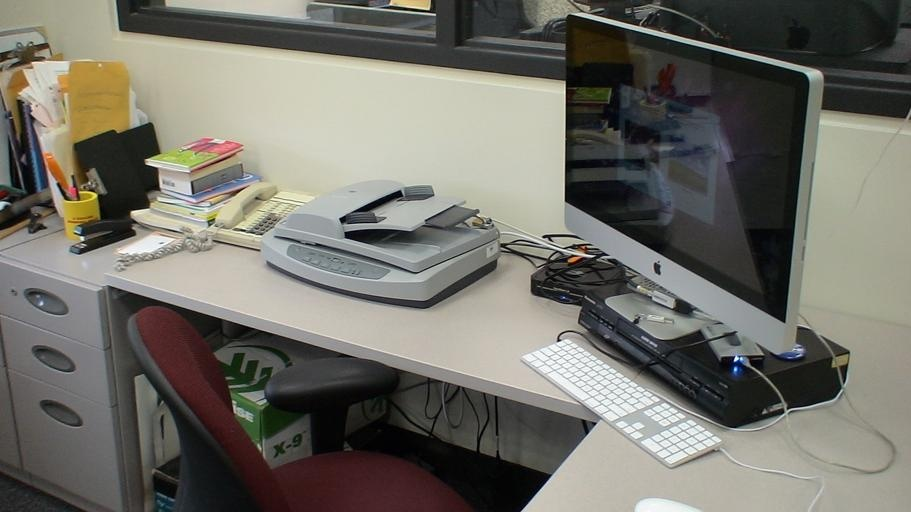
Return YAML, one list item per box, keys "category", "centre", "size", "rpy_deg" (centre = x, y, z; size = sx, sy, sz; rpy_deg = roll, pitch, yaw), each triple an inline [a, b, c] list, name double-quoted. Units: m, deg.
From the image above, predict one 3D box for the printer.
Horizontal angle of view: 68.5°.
- category: "printer"
  centre: [-0.248, -0.035, 2.422]
  size: [0.713, 0.205, 0.517]
  rpy_deg: [13, 28, 27]

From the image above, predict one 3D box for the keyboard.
- category: "keyboard"
  centre: [0.500, 0.436, 2.053]
  size: [0.597, 0.146, 0.191]
  rpy_deg: [22, 36, 37]

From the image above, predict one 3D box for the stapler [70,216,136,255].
- category: "stapler"
  centre: [-1.431, -0.088, 2.720]
  size: [0.090, 0.107, 0.301]
  rpy_deg: [12, 25, 32]

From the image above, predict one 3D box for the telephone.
- category: "telephone"
  centre: [-0.789, -0.165, 2.770]
  size: [0.405, 0.324, 0.279]
  rpy_deg: [5, 0, -21]

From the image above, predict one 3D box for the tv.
- category: "tv"
  centre: [0.701, -0.264, 2.061]
  size: [0.243, 0.812, 0.974]
  rpy_deg: [-23, 35, -31]
